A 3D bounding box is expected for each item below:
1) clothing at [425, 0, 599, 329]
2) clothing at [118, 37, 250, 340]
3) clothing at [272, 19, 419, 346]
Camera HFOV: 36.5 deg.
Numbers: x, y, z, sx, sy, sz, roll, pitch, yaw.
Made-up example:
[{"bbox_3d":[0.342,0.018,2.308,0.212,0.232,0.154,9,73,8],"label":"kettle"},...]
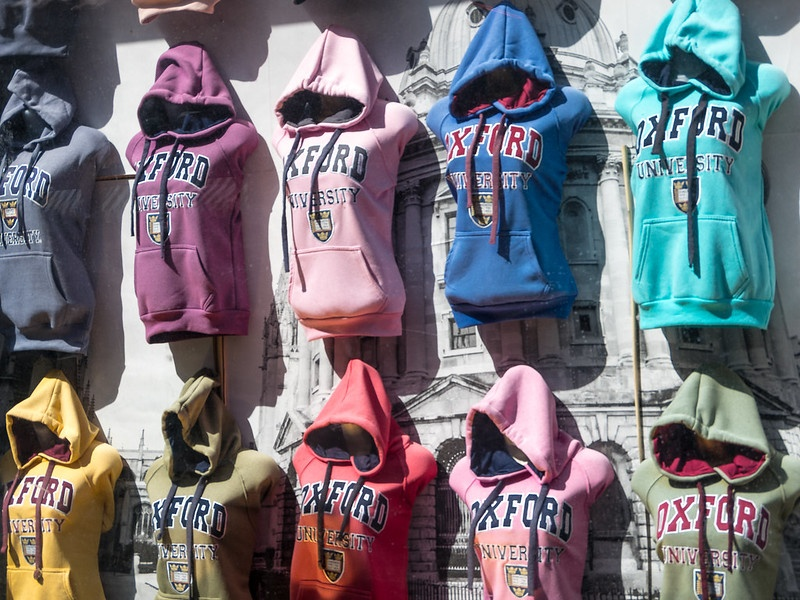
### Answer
[{"bbox_3d":[0.531,-0.697,6.077,0.769,1.638,0.280,-2,-5,0],"label":"clothing"},{"bbox_3d":[-1.082,-0.615,6.424,0.647,1.617,0.314,-1,-6,-11],"label":"clothing"},{"bbox_3d":[-0.274,-0.609,6.223,0.725,1.613,0.370,-2,-5,-8],"label":"clothing"}]
